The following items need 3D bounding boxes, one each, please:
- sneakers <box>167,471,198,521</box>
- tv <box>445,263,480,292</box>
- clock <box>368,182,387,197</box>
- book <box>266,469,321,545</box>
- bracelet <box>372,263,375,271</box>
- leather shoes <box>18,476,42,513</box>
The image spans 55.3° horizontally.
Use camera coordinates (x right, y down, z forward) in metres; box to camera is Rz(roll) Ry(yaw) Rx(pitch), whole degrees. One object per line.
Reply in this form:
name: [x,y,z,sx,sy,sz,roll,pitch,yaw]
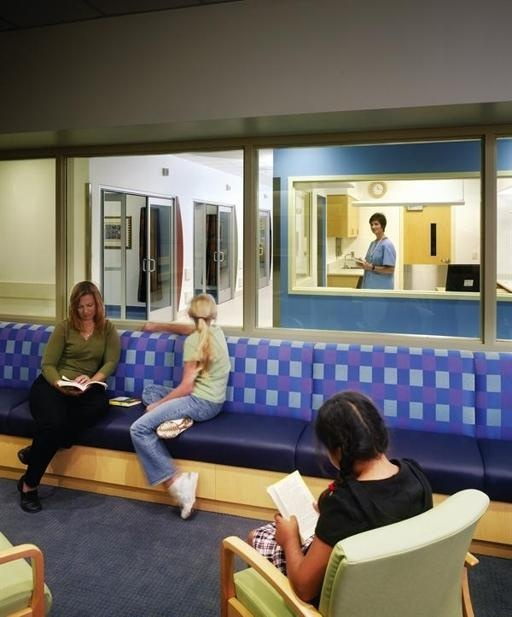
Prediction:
sneakers: [-0.391,0.994,2.638,0.153,0.250,0.175,0,3,1]
tv: [1.303,-0.190,3.078,0.192,0.171,0.044,0,3,9]
clock: [0.800,-0.774,3.214,0.116,0.106,0.016,1,3,15]
book: [0.124,0.632,1.545,0.166,0.189,0.049,-21,-14,-36]
bracelet: [0.788,-0.272,3.269,0.019,0.035,0.031,2,3,11]
leather shoes: [-1.273,1.042,2.739,0.086,0.103,0.233,8,0,-38]
